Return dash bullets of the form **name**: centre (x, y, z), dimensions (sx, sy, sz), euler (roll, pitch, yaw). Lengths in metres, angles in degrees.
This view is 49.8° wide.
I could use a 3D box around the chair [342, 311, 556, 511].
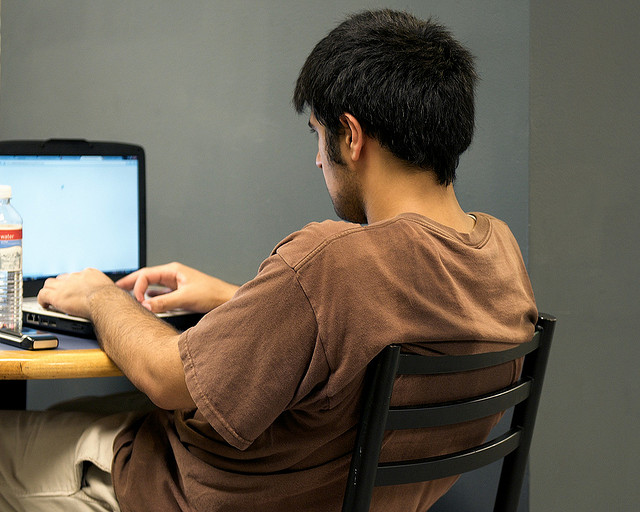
- **chair**: centre (0.272, 0.353, 1.358), dimensions (0.495, 0.431, 0.175), euler (-6, 8, -42)
